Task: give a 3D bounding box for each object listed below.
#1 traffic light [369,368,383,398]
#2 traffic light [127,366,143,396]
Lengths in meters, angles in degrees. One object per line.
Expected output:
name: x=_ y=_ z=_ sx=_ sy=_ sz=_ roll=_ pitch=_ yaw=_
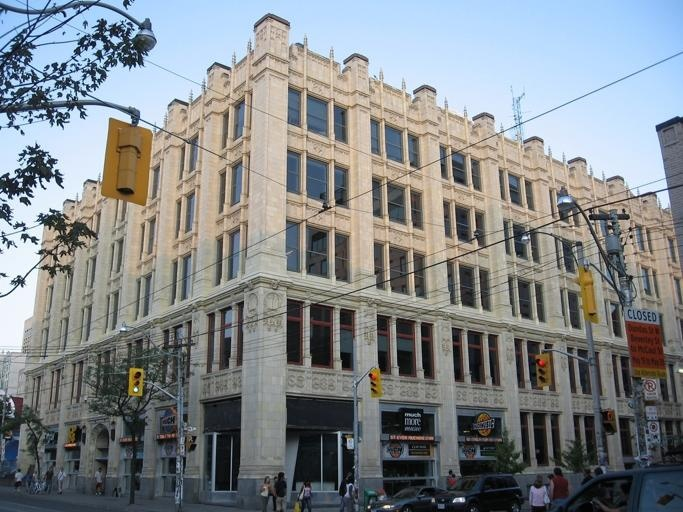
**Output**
traffic light: x=1.866 y=6.656 z=34.977 sx=0.580 sy=1.526 sz=0.852 roll=0 pitch=-23 yaw=-3
traffic light: x=-10.409 y=6.275 z=33.408 sx=0.646 sy=1.370 sz=0.936 roll=4 pitch=-24 yaw=-12
